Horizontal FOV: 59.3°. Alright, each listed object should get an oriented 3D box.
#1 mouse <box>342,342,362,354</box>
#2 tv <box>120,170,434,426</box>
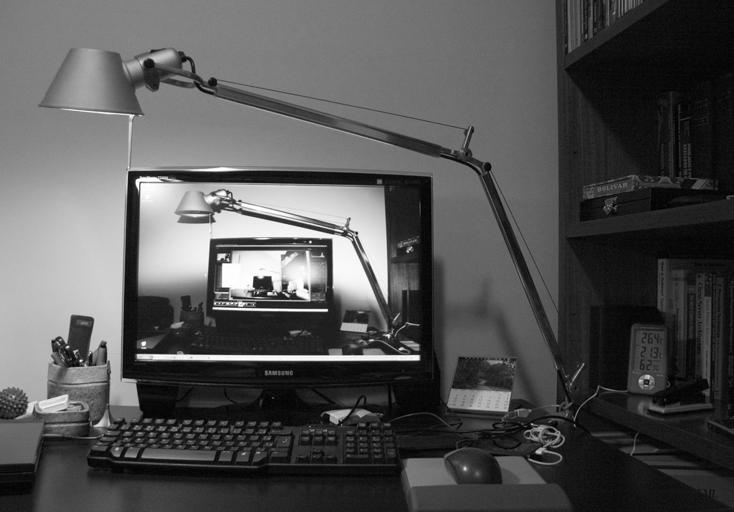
[{"bbox_3d":[-0.034,0.224,1.587,0.037,0.031,0.027,-9,-5,-1],"label":"mouse"},{"bbox_3d":[-0.219,0.079,1.584,0.690,0.570,0.118,3,4,-9],"label":"tv"}]
